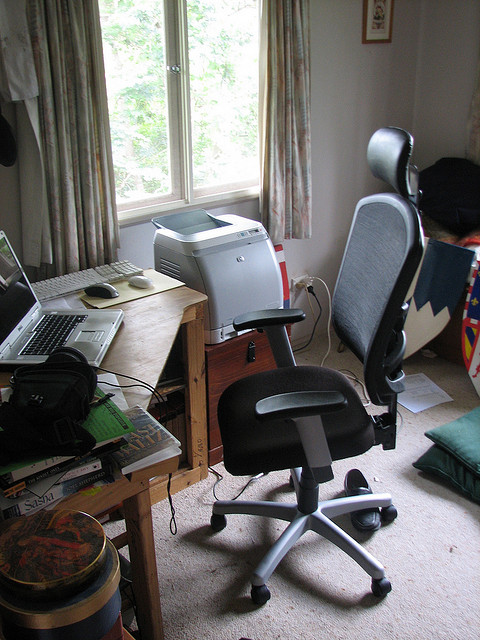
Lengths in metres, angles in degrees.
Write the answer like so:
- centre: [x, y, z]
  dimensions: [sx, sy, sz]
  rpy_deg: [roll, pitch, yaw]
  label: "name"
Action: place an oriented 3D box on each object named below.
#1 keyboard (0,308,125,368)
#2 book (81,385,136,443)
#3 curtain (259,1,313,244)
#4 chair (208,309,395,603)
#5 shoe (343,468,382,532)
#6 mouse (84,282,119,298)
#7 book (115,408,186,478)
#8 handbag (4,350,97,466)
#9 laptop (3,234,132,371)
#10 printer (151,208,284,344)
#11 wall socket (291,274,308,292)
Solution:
- centre: [-0.440, 0.042, 1.278]
  dimensions: [0.157, 0.023, 0.184]
  rpy_deg: [4, 35, 9]
  label: "keyboard"
- centre: [-0.240, 0.147, 0.845]
  dimensions: [0.065, 0.184, 0.019]
  rpy_deg: [-27, 59, -25]
  label: "book"
- centre: [0.245, -0.914, 2.334]
  dimensions: [0.366, 1.058, 0.135]
  rpy_deg: [-21, 31, -34]
  label: "curtain"
- centre: [0.173, 0.440, 1.464]
  dimensions: [0.479, 0.648, 0.455]
  rpy_deg: [-12, 38, -3]
  label: "chair"
- centre: [0.438, 0.641, 1.739]
  dimensions: [0.104, 0.092, 0.301]
  rpy_deg: [-11, 14, 6]
  label: "shoe"
- centre: [-0.442, -0.092, 1.550]
  dimensions: [0.087, 0.032, 0.046]
  rpy_deg: [-2, 15, 9]
  label: "mouse"
- centre: [-0.183, 0.217, 0.887]
  dimensions: [0.127, 0.027, 0.139]
  rpy_deg: [1, 30, -19]
  label: "book"
- centre: [-0.313, 0.138, 0.807]
  dimensions: [0.137, 0.064, 0.160]
  rpy_deg: [-21, 27, 14]
  label: "handbag"
- centre: [-0.429, -0.013, 1.268]
  dimensions: [0.304, 0.257, 0.346]
  rpy_deg: [4, 28, -3]
  label: "laptop"
- centre: [-0.103, -0.189, 1.931]
  dimensions: [0.441, 0.402, 0.428]
  rpy_deg: [17, 28, 38]
  label: "printer"
- centre: [0.342, -0.216, 2.819]
  dimensions: [0.011, 0.064, 0.087]
  rpy_deg: [12, 23, 43]
  label: "wall socket"
